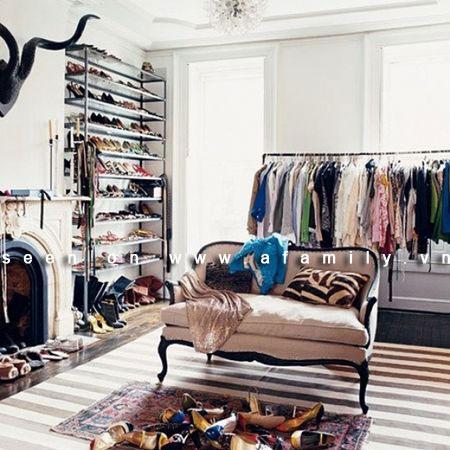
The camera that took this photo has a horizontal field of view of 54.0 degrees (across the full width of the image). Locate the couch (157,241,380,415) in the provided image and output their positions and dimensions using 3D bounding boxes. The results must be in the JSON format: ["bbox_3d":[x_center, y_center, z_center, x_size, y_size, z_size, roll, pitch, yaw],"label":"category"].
[{"bbox_3d":[0.326,0.606,3.068,1.391,0.849,0.734,1,6,24],"label":"couch"}]

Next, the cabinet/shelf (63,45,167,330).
[{"bbox_3d":[-1.179,-0.429,4.820,0.776,2.745,1.783,1,2,6],"label":"cabinet/shelf"}]

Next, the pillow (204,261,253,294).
[{"bbox_3d":[0.019,0.368,3.464,0.268,0.075,0.257,4,20,0],"label":"pillow"}]
